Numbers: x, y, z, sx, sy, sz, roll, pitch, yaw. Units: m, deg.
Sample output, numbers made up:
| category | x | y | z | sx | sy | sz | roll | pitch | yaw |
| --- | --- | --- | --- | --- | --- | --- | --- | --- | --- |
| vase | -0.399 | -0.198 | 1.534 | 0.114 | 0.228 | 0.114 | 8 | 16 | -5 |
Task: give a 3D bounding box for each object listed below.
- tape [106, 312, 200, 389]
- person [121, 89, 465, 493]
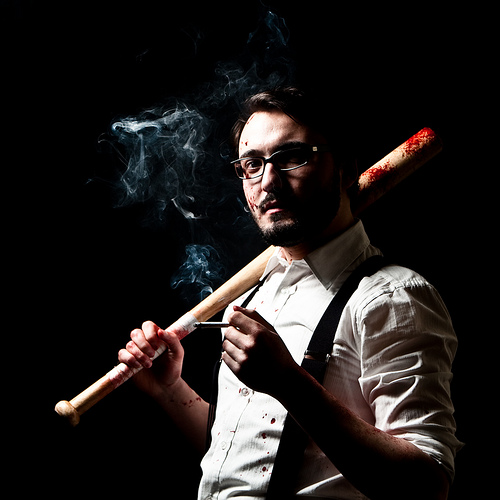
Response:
| category | x | y | z | sx | sy | sz | roll | pitch | yaw |
| --- | --- | --- | --- | --- | --- | --- | --- | --- | --- |
| tape | -0.422 | 0.441 | 2.827 | 0.169 | 0.201 | 0.467 | 1 | 44 | 53 |
| person | 0.235 | 0.116 | 2.784 | 1.282 | 0.922 | 1.806 | -32 | 45 | 49 |
